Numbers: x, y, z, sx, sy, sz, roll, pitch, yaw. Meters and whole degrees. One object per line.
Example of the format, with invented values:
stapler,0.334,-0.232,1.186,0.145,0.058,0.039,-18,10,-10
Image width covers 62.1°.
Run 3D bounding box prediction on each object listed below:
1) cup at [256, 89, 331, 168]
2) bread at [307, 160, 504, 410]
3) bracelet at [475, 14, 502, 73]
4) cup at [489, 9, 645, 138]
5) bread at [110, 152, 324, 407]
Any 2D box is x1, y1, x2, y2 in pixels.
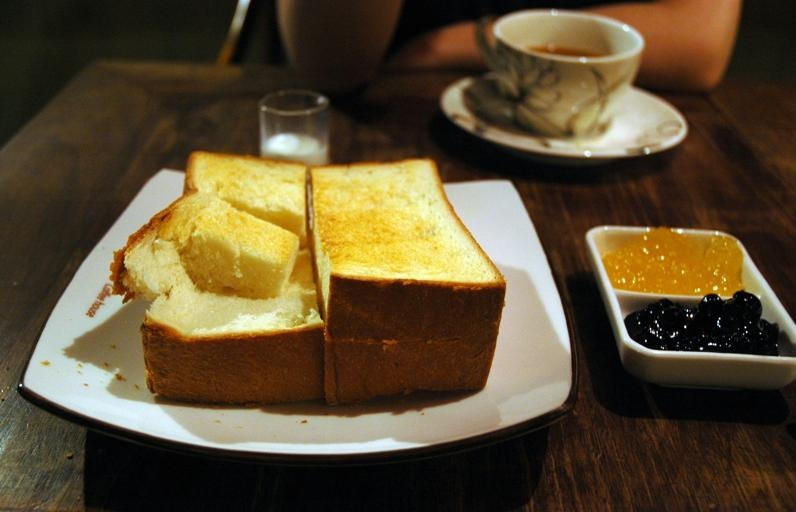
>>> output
cup,-0.254,-0.335,1.696,0.195,0.225,0.206,3,39,-3
bread,-0.015,0.155,1.377,0.352,0.297,0.611,-4,41,-9
bracelet,0.228,-0.556,1.716,0.033,0.097,0.127,-5,65,13
cup,0.393,-0.481,1.728,0.352,0.223,0.359,1,35,-1
bread,-0.342,0.095,1.361,0.361,0.166,0.470,-5,55,-15
